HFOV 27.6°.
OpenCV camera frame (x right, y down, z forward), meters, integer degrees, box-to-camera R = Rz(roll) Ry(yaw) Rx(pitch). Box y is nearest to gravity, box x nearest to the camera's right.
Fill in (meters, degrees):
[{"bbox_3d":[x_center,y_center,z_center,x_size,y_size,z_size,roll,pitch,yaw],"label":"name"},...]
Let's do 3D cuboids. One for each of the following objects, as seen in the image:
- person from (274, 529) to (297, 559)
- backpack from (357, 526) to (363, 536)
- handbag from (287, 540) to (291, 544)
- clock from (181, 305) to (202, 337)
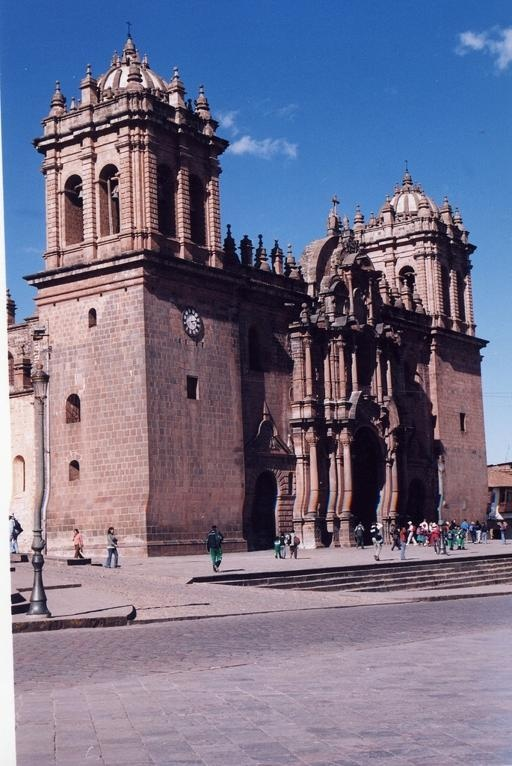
[{"bbox_3d":[0.949,5.251,34.010,0.378,1.156,1.600,3,-28,-13],"label":"person"},{"bbox_3d":[3.759,5.363,38.000,0.224,0.408,0.635,-2,-7,5],"label":"backpack"},{"bbox_3d":[1.150,5.463,36.042,0.045,0.228,0.139,2,4,-29],"label":"handbag"},{"bbox_3d":[-2.110,-2.009,34.972,0.083,1.064,1.209,-4,-7,28],"label":"clock"}]
